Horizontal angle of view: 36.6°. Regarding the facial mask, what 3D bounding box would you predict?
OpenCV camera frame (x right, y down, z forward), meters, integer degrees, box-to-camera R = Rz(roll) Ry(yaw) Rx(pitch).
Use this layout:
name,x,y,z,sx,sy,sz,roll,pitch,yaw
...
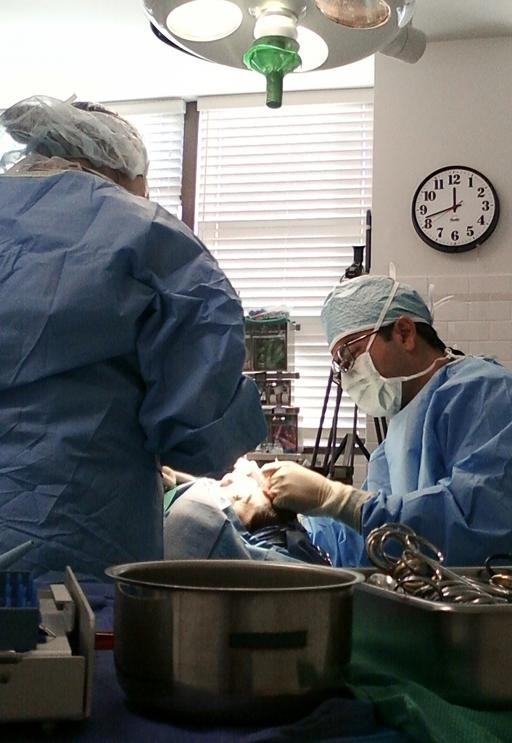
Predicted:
name,x,y,z,sx,sy,sz,roll,pitch,yaw
facial mask,0.422,0.001,2.513,0.275,0.167,0.226,-43,7,2

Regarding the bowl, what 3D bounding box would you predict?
name,x,y,z,sx,sy,sz,roll,pitch,yaw
bowl,-0.028,0.239,0.671,0.228,0.099,0.217,1,-20,0

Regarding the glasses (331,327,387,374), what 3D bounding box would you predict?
name,x,y,z,sx,sy,sz,roll,pitch,yaw
glasses,0.328,-0.081,2.464,0.146,0.045,0.140,-29,-6,-25

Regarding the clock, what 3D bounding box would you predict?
name,x,y,z,sx,sy,sz,roll,pitch,yaw
clock,0.988,-0.784,3.773,0.480,0.486,0.050,1,-7,10
